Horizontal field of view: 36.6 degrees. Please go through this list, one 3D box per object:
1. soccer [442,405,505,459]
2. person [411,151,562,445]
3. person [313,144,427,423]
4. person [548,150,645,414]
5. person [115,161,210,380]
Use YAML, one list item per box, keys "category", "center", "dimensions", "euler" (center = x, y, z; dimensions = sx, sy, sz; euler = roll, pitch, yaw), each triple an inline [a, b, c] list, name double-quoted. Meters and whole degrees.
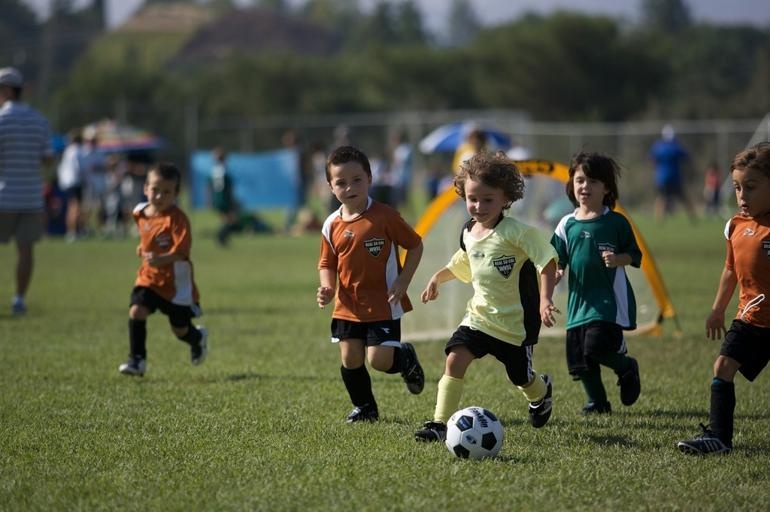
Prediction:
- category: "soccer"
  center: [0.757, 1.495, 10.036]
  dimensions: [0.510, 0.377, 0.562]
  euler: [0, -1, 3]
- category: "person"
  center: [0.890, 0.305, 10.474]
  dimensions: [1.276, 2.498, 0.896]
  euler: [0, 1, -32]
- category: "person"
  center: [-0.113, 0.280, 10.544]
  dimensions: [1.241, 2.495, 0.787]
  euler: [-2, 1, -23]
- category: "person"
  center: [1.857, 0.248, 10.618]
  dimensions: [0.919, 2.348, 0.814]
  euler: [0, -7, 2]
- category: "person"
  center: [-2.116, 0.126, 11.087]
  dimensions: [0.794, 2.035, 0.587]
  euler: [-1, 4, -9]
